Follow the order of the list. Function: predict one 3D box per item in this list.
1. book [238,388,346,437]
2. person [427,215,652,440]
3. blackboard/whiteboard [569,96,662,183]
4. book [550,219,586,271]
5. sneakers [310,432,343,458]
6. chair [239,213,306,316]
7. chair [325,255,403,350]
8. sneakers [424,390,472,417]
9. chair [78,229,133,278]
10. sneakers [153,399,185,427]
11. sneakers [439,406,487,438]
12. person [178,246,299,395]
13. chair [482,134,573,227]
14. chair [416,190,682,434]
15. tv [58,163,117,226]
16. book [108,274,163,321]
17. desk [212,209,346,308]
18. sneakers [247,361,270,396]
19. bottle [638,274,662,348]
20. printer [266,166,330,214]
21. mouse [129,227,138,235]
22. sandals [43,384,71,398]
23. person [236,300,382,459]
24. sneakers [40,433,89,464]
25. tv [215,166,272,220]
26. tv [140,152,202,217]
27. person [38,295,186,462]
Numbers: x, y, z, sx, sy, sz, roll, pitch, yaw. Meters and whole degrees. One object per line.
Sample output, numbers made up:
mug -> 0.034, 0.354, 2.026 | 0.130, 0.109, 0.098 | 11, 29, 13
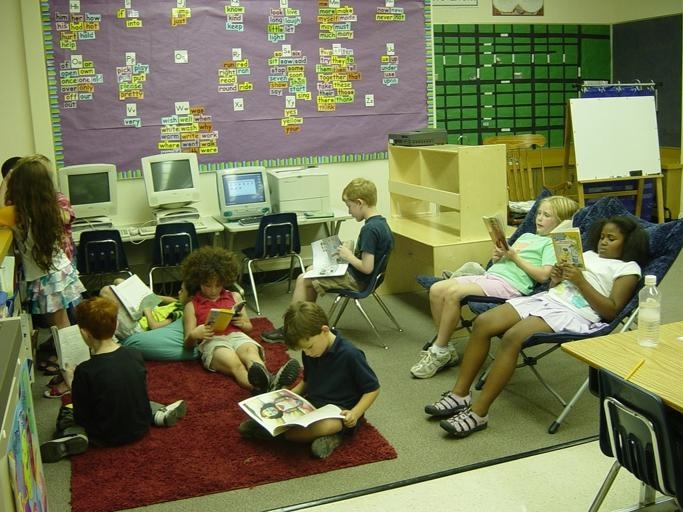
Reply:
book -> -0.267, 0.753, 2.737 | 0.252, 0.120, 0.378 | -7, 19, -38
person -> 1.104, 0.339, 3.134 | 1.285, 1.155, 0.539 | -7, 17, -18
blackboard/whiteboard -> 2.989, -1.302, 6.179 | 1.117, 0.878, 0.319 | -8, 14, -16
book -> 1.264, -0.049, 3.095 | 0.179, 0.214, 0.209 | -12, 13, 4
sneakers -> -0.076, 0.932, 2.828 | 0.143, 0.055, 0.090 | -31, 25, -28
chair -> -0.640, 0.014, 5.187 | 0.703, 0.825, 0.724 | 0, 11, 6
chair -> 0.127, 0.256, 4.157 | 0.485, 0.547, 0.383 | 1, 13, 24
sneakers -> 0.590, 0.826, 3.092 | 0.317, 0.128, 0.110 | -8, 5, -14
chair -> -2.024, -0.037, 4.706 | 0.357, 0.540, 0.412 | -2, 9, -11
sneakers -> -0.965, 0.877, 3.192 | 0.093, 0.079, 0.230 | -7, 5, 20
sneakers -> 0.644, 0.870, 2.988 | 0.296, 0.116, 0.116 | -7, 12, -27
person -> -0.709, 0.432, 3.707 | 0.506, 0.814, 1.091 | -4, 11, -33
chair -> 2.251, -0.805, 6.679 | 0.789, 1.022, 0.814 | -9, -5, 41
chair -> 1.111, 0.256, 3.630 | 1.569, 1.371, 1.012 | -4, 11, -11
tv -> -2.245, -0.543, 5.055 | 0.480, 0.474, 0.287 | -7, -9, -13
book -> -1.491, 0.284, 4.030 | 0.114, 0.313, 0.319 | -50, -9, 36
desk -> -0.594, -0.136, 5.646 | 1.608, 1.040, 0.879 | -4, 11, -17
sneakers -> -0.460, 0.700, 3.280 | 0.100, 0.230, 0.109 | 2, 25, 18
bottle -> 1.259, 0.198, 2.279 | 0.086, 0.273, 0.221 | 6, 17, 28
printer -> -0.532, -0.632, 5.620 | 0.682, 0.412, 0.666 | -7, 10, -23
mouse -> -1.903, -0.231, 5.130 | 0.070, 0.042, 0.113 | 0, 6, -13
sandals -> -1.801, 0.849, 3.552 | 0.090, 0.042, 0.188 | 4, 4, 19
person -> -0.056, 0.481, 3.101 | 0.743, 0.817, 0.818 | -6, 8, -34
sneakers -> -1.386, 0.952, 2.874 | 0.274, 0.093, 0.112 | -5, 4, -33
tv -> -0.926, -0.593, 5.346 | 0.542, 0.477, 0.282 | -8, 5, -20
tv -> -1.614, -0.684, 5.276 | 0.510, 0.552, 0.401 | -11, 28, -29
person -> -1.319, 0.624, 3.031 | 0.581, 0.696, 0.880 | 1, 4, 22
